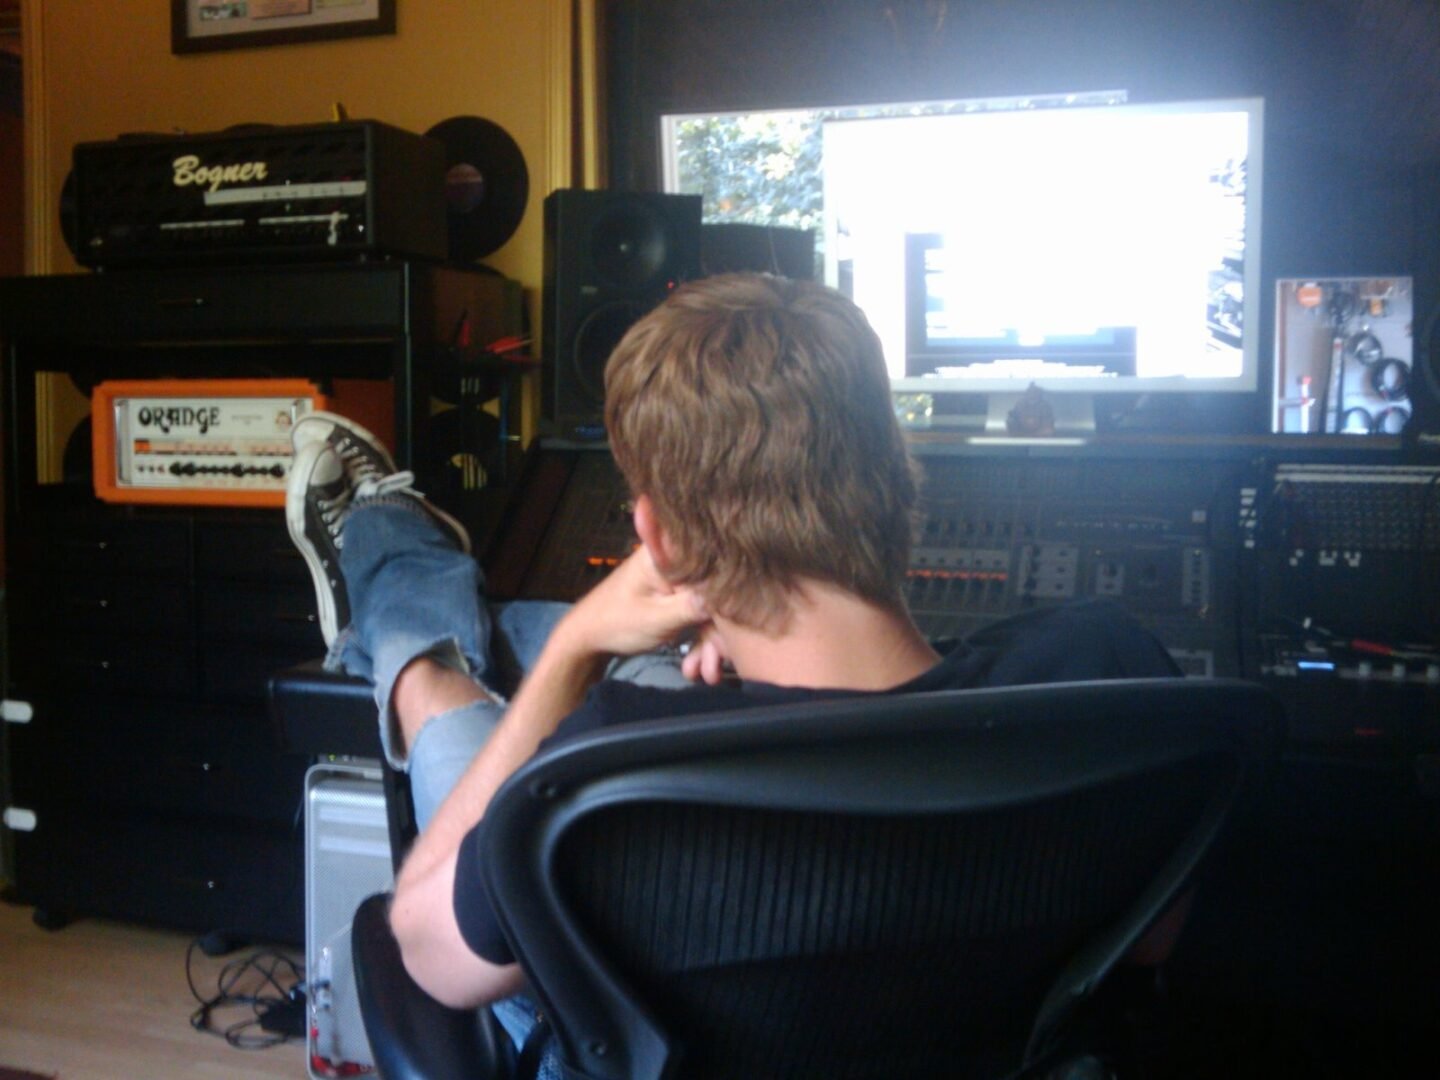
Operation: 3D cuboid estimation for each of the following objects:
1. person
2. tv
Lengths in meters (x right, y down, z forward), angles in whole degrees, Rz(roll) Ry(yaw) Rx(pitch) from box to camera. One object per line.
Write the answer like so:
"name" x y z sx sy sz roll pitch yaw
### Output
"person" -0.273 -0.077 1.930 0.652 0.871 1.518 -8 23 -9
"tv" 0.614 -0.524 2.301 0.690 0.467 0.014 0 2 10
